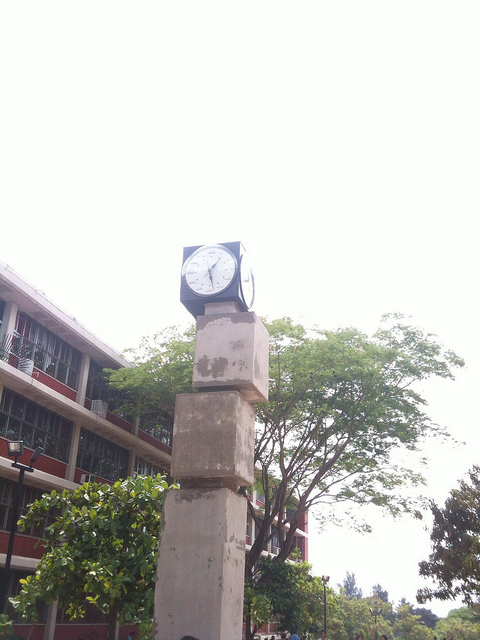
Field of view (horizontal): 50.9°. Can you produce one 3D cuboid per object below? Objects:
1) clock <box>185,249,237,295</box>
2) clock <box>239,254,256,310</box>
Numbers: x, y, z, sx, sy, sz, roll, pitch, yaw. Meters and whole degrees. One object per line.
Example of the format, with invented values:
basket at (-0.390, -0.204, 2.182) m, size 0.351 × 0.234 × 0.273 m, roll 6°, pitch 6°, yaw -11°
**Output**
clock at (-0.474, -0.747, 7.715) m, size 0.833 × 1.012 × 0.095 m, roll -5°, pitch -31°, yaw 8°
clock at (0.069, -0.529, 7.512) m, size 0.082 × 0.902 × 0.835 m, roll -7°, pitch -13°, yaw 14°
